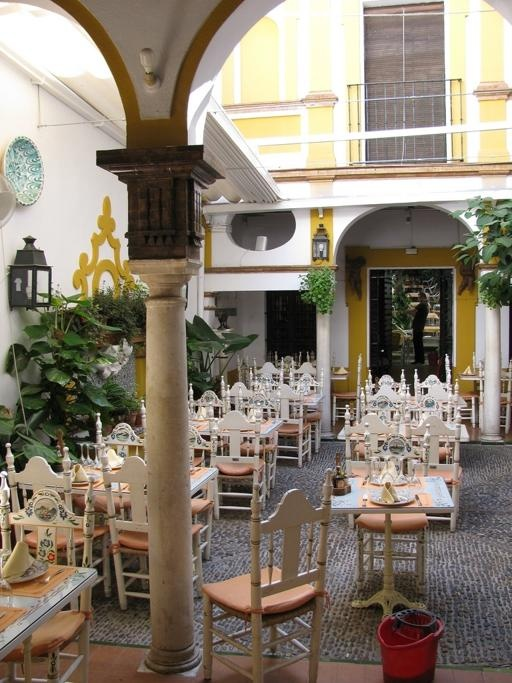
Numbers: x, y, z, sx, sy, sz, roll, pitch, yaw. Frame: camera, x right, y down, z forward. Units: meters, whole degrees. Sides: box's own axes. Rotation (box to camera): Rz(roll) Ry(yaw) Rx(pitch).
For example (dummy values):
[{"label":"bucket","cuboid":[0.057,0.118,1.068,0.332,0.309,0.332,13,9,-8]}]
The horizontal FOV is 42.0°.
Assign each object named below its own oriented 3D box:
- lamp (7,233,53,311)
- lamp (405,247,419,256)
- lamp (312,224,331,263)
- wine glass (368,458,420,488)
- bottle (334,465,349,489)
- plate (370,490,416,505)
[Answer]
[{"label":"lamp","cuboid":[-1.823,-0.549,5.412,0.294,0.590,0.376,-1,0,3]},{"label":"lamp","cuboid":[2.849,-1.620,12.079,0.226,0.135,0.062,-1,0,13]},{"label":"lamp","cuboid":[0.965,-1.431,9.722,0.258,0.441,0.104,-1,0,4]},{"label":"wine glass","cuboid":[0.906,0.873,4.403,0.230,0.101,0.232,-1,-2,30]},{"label":"bottle","cuboid":[0.542,0.869,4.226,0.114,0.117,0.111,0,-1,-1]},{"label":"plate","cuboid":[0.819,0.924,3.969,0.268,0.061,0.314,-1,0,11]}]
